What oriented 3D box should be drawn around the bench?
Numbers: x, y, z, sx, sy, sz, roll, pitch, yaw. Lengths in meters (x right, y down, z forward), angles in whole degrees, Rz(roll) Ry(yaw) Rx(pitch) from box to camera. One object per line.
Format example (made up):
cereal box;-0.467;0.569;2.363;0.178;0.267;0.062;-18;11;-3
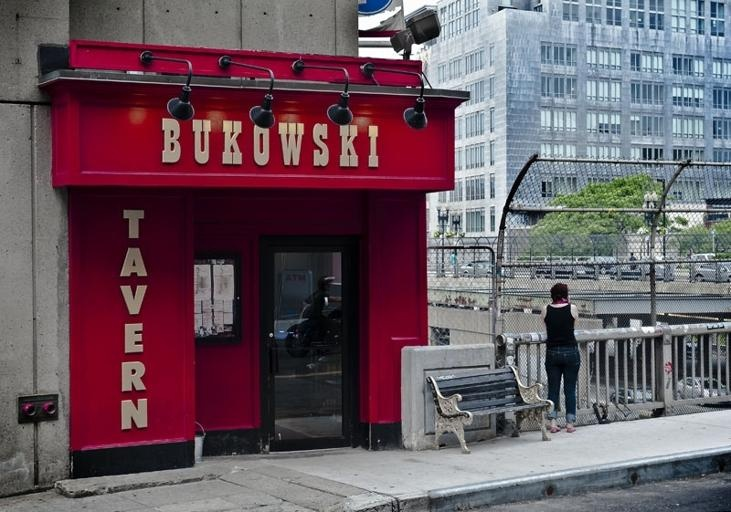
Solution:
bench;1.993;2.439;19.755;2.055;1.148;0.963;-1;2;-44
